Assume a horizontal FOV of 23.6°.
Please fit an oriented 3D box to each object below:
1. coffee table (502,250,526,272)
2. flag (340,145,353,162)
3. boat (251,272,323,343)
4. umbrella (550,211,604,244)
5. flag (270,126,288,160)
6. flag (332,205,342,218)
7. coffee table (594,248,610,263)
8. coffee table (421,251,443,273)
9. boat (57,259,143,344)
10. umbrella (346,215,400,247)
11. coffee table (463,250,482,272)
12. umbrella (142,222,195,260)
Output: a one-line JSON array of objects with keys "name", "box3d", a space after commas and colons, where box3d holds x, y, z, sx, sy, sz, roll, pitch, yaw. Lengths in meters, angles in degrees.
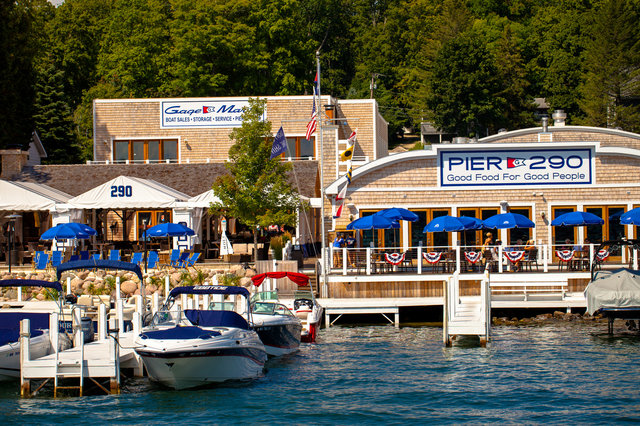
[{"name": "coffee table", "box3d": [14.331, 3.442, 112.396, 1.682, 1.446, 0.621, -5, 5, 15]}, {"name": "flag", "box3d": [2.175, -5.005, 119.480, 0.999, 1.171, 3.134, -2, -3, -1]}, {"name": "boat", "box3d": [-2.350, 6.142, 110.060, 4.109, 3.594, 7.847, 2, 11, -8]}, {"name": "umbrella", "box3d": [19.250, 0.224, 114.648, 3.524, 0.989, 1.521, -4, -4, 24]}, {"name": "flag", "box3d": [-3.075, -5.603, 114.767, 1.253, 2.439, 1.311, -2, -3, -6]}, {"name": "flag", "box3d": [1.441, -0.376, 116.936, 0.758, 1.083, 2.423, -2, -3, -1]}, {"name": "coffee table", "box3d": [20.723, 2.974, 112.187, 0.940, 1.014, 3.248, -3, -3, 11]}, {"name": "coffee table", "box3d": [8.340, 3.507, 112.700, 1.383, 1.512, 2.336, -3, -3, 4]}, {"name": "boat", "box3d": [-15.428, 6.354, 107.229, 5.207, 4.852, 1.896, 1, 16, -5]}, {"name": "umbrella", "box3d": [3.970, 0.457, 113.015, 3.467, 1.075, 1.811, -2, -3, -8]}, {"name": "coffee table", "box3d": [11.288, 3.464, 113.310, 1.376, 1.563, 2.762, -3, -3, 5]}, {"name": "umbrella", "box3d": [-11.095, 1.072, 113.212, 3.491, 0.960, 1.828, -2, -3, -7]}]
